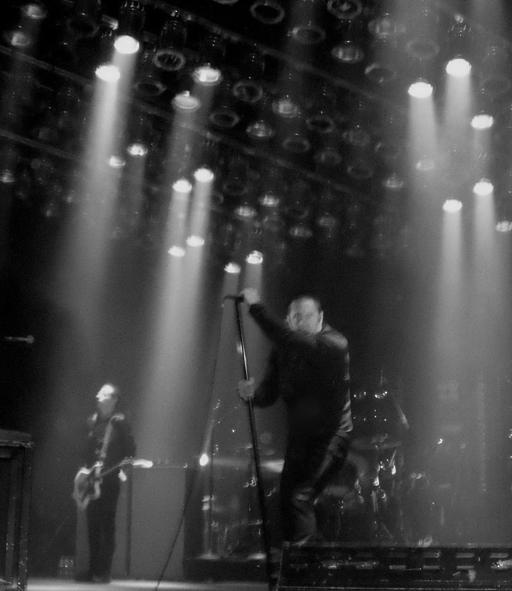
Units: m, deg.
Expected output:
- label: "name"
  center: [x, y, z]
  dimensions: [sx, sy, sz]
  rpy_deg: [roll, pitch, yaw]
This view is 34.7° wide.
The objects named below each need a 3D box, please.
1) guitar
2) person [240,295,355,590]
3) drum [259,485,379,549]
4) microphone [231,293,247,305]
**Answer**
- label: "guitar"
  center: [-1.365, 1.675, 7.340]
  dimensions: [0.623, 0.463, 0.255]
  rpy_deg: [3, -9, 15]
- label: "person"
  center: [0.228, 0.704, 4.964]
  dimensions: [0.629, 1.485, 0.705]
  rpy_deg: [3, -9, 20]
- label: "drum"
  center: [0.425, 1.572, 5.815]
  dimensions: [0.961, 0.289, 1.189]
  rpy_deg: [1, -14, -9]
- label: "microphone"
  center: [-0.107, 0.009, 4.971]
  dimensions: [0.041, 0.065, 0.087]
  rpy_deg: [6, -4, -13]
